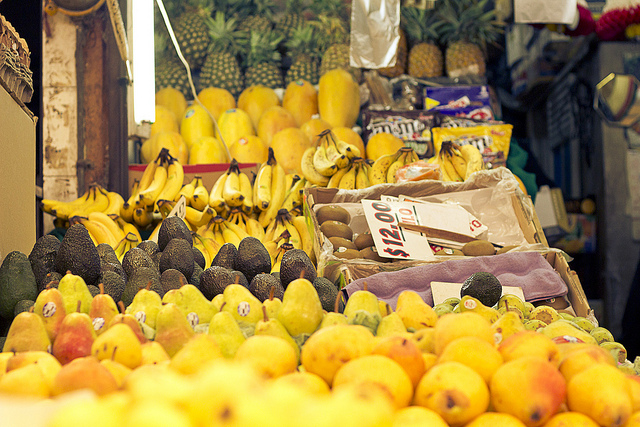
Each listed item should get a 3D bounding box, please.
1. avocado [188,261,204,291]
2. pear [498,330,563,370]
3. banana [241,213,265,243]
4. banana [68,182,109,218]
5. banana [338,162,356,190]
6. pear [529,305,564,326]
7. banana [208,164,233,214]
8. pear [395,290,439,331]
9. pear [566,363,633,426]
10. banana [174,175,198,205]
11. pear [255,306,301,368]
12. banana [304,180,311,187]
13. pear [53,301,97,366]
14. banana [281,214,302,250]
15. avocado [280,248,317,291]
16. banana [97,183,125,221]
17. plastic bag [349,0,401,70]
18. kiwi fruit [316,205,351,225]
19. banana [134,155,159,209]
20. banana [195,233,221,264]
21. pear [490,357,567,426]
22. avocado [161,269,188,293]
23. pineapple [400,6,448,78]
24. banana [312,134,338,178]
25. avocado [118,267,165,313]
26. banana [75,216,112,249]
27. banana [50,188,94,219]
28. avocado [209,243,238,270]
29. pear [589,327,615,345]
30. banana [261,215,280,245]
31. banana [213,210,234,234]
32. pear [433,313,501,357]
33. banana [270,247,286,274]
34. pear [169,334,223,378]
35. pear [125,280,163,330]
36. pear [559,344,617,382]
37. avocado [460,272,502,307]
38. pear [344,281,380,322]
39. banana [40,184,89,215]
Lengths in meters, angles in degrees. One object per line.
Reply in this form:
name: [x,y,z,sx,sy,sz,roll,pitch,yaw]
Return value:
avocado: [-0.657,0.334,3.478,0.069,0.134,0.078,-2,-4,19]
pear: [0.856,0.538,2.483,0.148,0.177,0.213,-2,-7,5]
banana: [-0.488,0.080,4.701,0.092,0.127,0.361,-22,39,-7]
banana: [-1.691,-0.099,4.892,0.093,0.221,0.137,-38,-29,-13]
banana: [0.204,-0.280,4.795,0.134,0.191,0.208,-3,4,1]
pear: [1.082,0.485,3.115,0.084,0.068,0.114,-5,-3,-2]
banana: [-0.710,-0.186,4.754,0.167,0.088,0.498,-45,16,27]
pear: [0.412,0.438,2.806,0.127,0.174,0.107,-29,-12,-22]
pear: [1.013,0.656,2.334,0.237,0.215,0.073,-2,4,5]
banana: [-0.961,-0.182,4.809,0.094,0.083,0.303,8,40,19]
pear: [-0.190,0.476,2.728,0.170,0.187,0.259,20,21,-16]
banana: [-0.097,-0.234,5.023,0.011,0.044,0.041,7,-25,-30]
pear: [-0.994,0.492,2.645,0.174,0.285,0.183,3,4,-9]
banana: [-0.181,0.144,4.446,0.113,0.341,0.092,8,-49,-29]
avocado: [-0.100,0.287,3.368,0.159,0.152,0.217,0,-1,-3]
banana: [-1.568,-0.079,4.850,0.069,0.234,0.150,-36,-43,9]
plastic bag: [0.506,-1.671,6.010,0.546,1.031,0.098,2,-9,-4]
kiwi fruit: [0.094,0.002,4.206,0.152,0.133,0.125,6,-6,-3]
banana: [-1.304,-0.227,4.872,0.078,0.417,0.138,15,-16,6]
banana: [-0.706,0.225,4.070,0.191,0.053,0.071,44,11,30]
pear: [0.747,0.626,2.307,0.196,0.265,0.140,-19,7,4]
avocado: [-0.721,0.333,3.174,0.103,0.087,0.144,-3,19,-1]
pineapple: [1.106,-1.857,7.005,0.484,0.849,0.687,-1,4,18]
banana: [0.004,-0.444,4.955,0.108,0.365,0.235,4,-46,-13]
avocado: [-0.857,0.365,3.097,0.167,0.277,0.181,2,-9,-6]
banana: [-1.377,0.121,3.943,0.044,0.195,0.065,-46,-12,23]
banana: [-1.949,-0.080,5.100,0.237,0.083,0.161,-23,39,-11]
avocado: [-0.526,0.249,3.546,0.086,0.178,0.079,15,-15,15]
pear: [1.302,0.561,2.981,0.058,0.049,0.082,-2,5,1]
banana: [-0.349,0.119,4.578,0.039,0.182,0.059,30,-13,-7]
banana: [-0.674,0.059,4.631,0.037,0.234,0.058,18,-16,-7]
pear: [0.541,0.443,2.386,0.144,0.124,0.208,-9,-13,2]
banana: [-0.266,0.315,4.158,0.053,0.221,0.070,21,-11,-13]
pear: [-0.489,0.573,2.512,0.172,0.119,0.138,-27,-9,25]
pear: [-0.766,0.425,2.852,0.176,0.270,0.190,0,-6,-11]
pear: [1.035,0.560,2.472,0.207,0.133,0.199,5,-19,-25]
avocado: [0.793,0.364,3.141,0.172,0.170,0.140,-5,-3,-14]
pear: [0.182,0.397,2.774,0.135,0.222,0.148,2,-22,15]
banana: [-1.916,-0.078,4.916,0.335,0.214,0.107,-5,37,-23]
